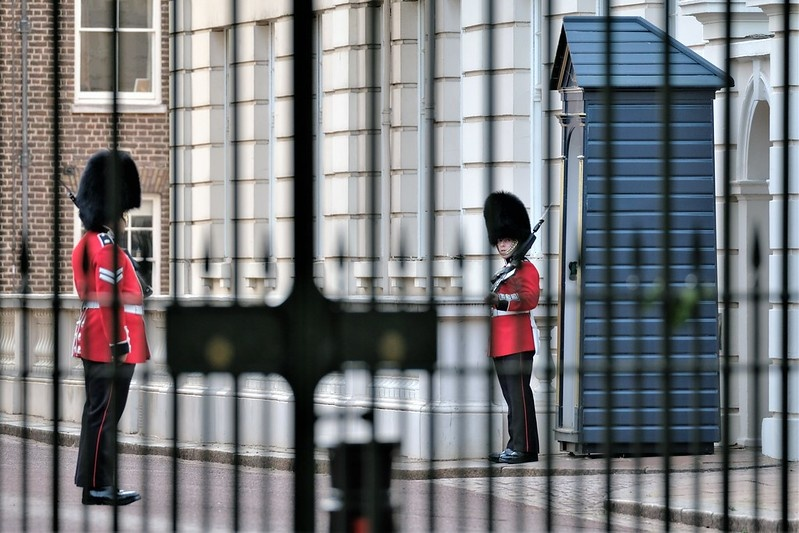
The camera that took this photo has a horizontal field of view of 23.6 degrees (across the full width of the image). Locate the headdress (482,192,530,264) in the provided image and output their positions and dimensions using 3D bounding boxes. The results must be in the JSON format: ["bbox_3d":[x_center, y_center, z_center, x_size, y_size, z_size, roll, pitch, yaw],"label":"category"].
[{"bbox_3d":[0.611,-0.259,10.958,0.280,0.172,0.425,14,-28,14],"label":"headdress"}]

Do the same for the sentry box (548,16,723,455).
[{"bbox_3d":[2.002,-0.311,15.452,1.211,3.278,1.391,-1,-2,0],"label":"sentry box"}]

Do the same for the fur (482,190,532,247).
[{"bbox_3d":[0.581,-0.282,11.027,0.224,0.380,0.352,-2,10,3],"label":"fur"}]

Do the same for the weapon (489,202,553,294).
[{"bbox_3d":[0.733,-0.102,11.774,0.059,0.566,0.124,38,-20,10],"label":"weapon"}]
